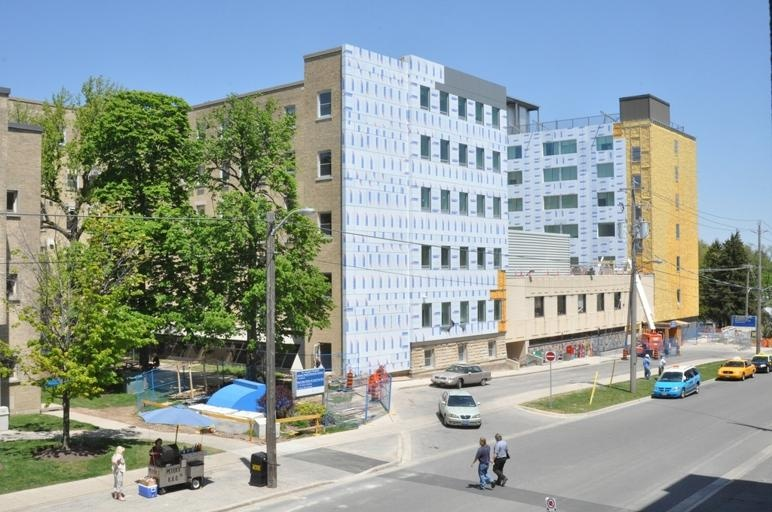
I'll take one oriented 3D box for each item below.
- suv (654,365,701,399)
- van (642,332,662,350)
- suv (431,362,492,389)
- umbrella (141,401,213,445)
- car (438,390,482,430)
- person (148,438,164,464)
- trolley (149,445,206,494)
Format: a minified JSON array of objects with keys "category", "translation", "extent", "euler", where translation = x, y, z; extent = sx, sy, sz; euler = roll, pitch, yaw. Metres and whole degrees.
[{"category":"suv","translation":[23.177,10.031,81.840],"extent":[1.900,2.366,4.185],"euler":[-7,-9,44]},{"category":"van","translation":[27.876,8.892,108.040],"extent":[2.222,2.132,1.878],"euler":[3,4,27]},{"category":"suv","translation":[6.260,9.664,83.307],"extent":[3.939,1.150,2.009],"euler":[4,-6,-43]},{"category":"umbrella","translation":[-11.959,9.436,59.970],"extent":[3.626,2.233,3.552],"euler":[11,-9,-38]},{"category":"car","translation":[5.122,10.699,71.658],"extent":[2.404,2.409,3.047],"euler":[1,-7,-18]},{"category":"person","translation":[-13.084,11.194,58.911],"extent":[0.570,1.433,0.928],"euler":[3,-7,-37]},{"category":"trolley","translation":[-12.090,12.240,59.558],"extent":[3.140,2.396,2.250],"euler":[1,-6,-38]}]
